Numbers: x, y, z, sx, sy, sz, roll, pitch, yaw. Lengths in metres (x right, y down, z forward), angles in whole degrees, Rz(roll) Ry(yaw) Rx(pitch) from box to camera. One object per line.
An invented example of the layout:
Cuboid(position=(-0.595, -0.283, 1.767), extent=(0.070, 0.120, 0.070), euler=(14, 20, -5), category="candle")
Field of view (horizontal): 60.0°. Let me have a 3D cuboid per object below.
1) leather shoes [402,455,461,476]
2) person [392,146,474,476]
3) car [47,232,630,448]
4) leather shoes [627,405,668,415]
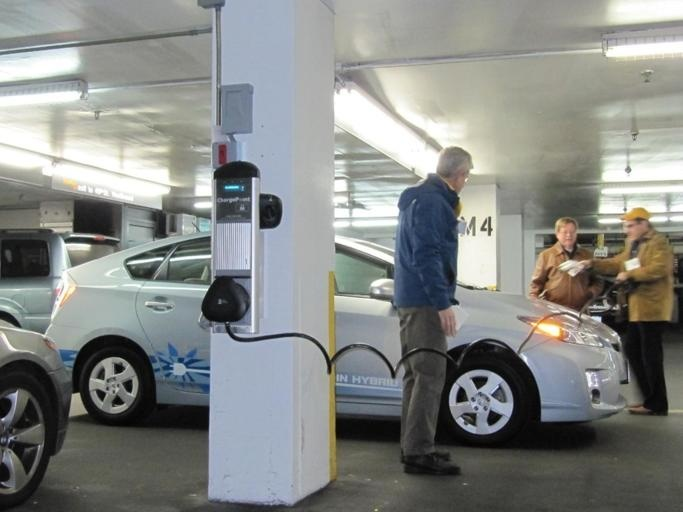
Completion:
Cuboid(position=(0.691, 1.595, 4.601), extent=(0.445, 0.212, 0.175), euler=(-1, -3, 2), category="leather shoes")
Cuboid(position=(0.683, 0.384, 4.630), extent=(0.535, 2.454, 0.541), euler=(1, 0, 6), category="person")
Cuboid(position=(-0.169, 0.939, 6.330), extent=(5.099, 1.788, 2.517), euler=(-1, -6, 14), category="car")
Cuboid(position=(3.528, 1.762, 6.790), extent=(0.388, 0.105, 0.137), euler=(0, 0, 27), category="leather shoes")
